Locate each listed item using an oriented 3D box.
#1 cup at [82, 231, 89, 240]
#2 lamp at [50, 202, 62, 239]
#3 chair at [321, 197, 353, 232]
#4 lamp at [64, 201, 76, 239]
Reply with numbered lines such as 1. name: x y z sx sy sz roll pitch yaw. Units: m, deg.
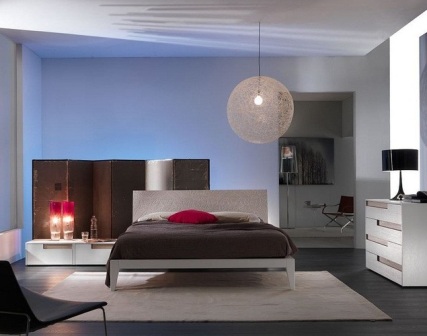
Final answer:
1. cup: -1.922 1.033 5.904 0.110 0.130 0.112 -1 -7 0
2. lamp: -2.390 0.801 5.940 0.168 0.563 0.241 -2 5 -23
3. chair: 2.394 0.900 7.742 0.634 0.847 0.620 2 -3 -36
4. lamp: -2.198 0.801 5.914 0.157 0.568 0.093 -2 5 -27
